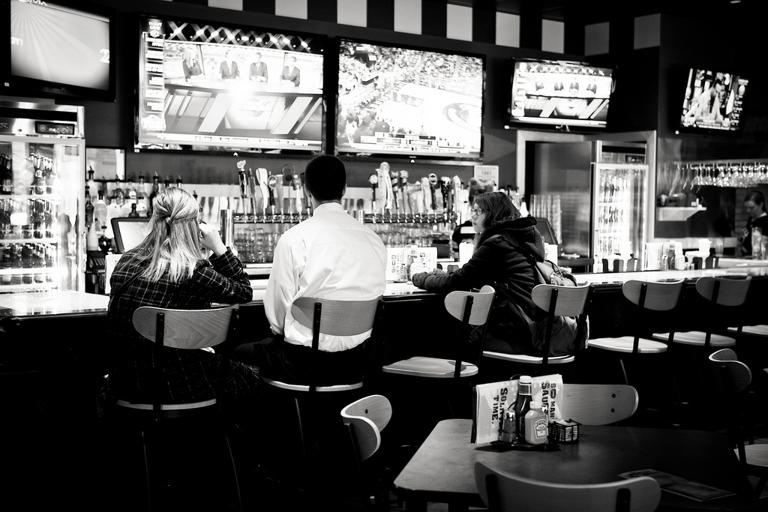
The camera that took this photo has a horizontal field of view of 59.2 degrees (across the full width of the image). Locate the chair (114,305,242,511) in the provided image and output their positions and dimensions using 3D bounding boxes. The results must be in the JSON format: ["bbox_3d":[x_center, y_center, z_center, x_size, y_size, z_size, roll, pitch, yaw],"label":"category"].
[{"bbox_3d":[-1.184,0.887,4.009,0.743,1.235,0.555,2,2,-12],"label":"chair"}]

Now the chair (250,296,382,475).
[{"bbox_3d":[-0.361,0.687,4.075,0.579,0.910,0.489,4,2,35],"label":"chair"}]

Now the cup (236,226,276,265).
[{"bbox_3d":[-1.333,-0.100,6.984,0.387,0.364,0.207,1,8,-13],"label":"cup"}]

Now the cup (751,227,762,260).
[{"bbox_3d":[4.643,-0.152,8.391,0.115,0.335,0.262,3,2,21],"label":"cup"}]

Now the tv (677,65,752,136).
[{"bbox_3d":[4.642,-2.208,9.598,1.126,0.764,0.045,0,8,-31],"label":"tv"}]

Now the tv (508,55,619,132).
[{"bbox_3d":[2.360,-2.166,9.092,1.141,0.769,0.151,0,12,-13],"label":"tv"}]

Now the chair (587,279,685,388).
[{"bbox_3d":[2.169,0.679,5.798,0.700,0.729,1.121,4,2,33],"label":"chair"}]

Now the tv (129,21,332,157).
[{"bbox_3d":[-1.725,-1.791,7.212,1.984,1.217,0.211,-4,13,-28],"label":"tv"}]
